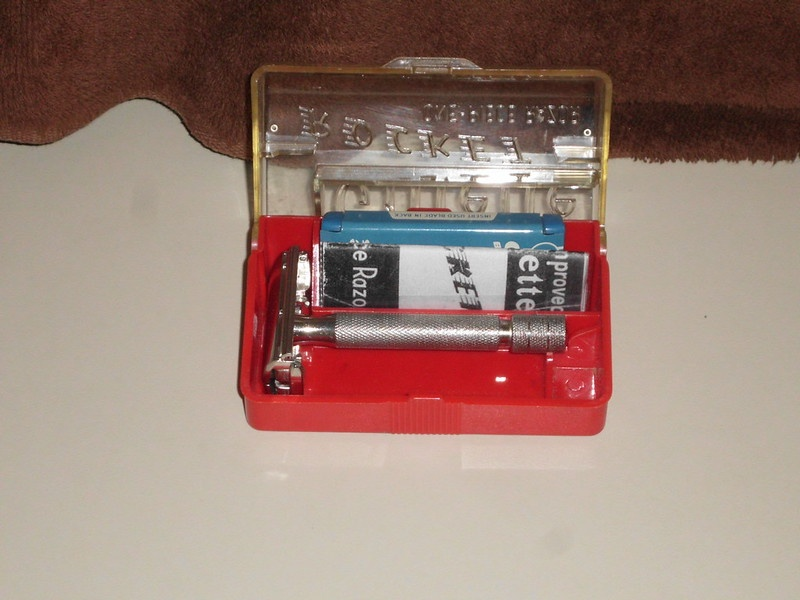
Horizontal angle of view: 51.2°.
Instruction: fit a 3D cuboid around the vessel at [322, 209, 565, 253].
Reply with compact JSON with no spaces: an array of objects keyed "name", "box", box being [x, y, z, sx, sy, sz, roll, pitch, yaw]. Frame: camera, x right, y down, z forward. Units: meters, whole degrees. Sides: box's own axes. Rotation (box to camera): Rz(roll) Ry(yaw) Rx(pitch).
[{"name":"vessel","box":[0.056,-0.094,1.279,0.367,0.058,0.084,1,73,9]}]
